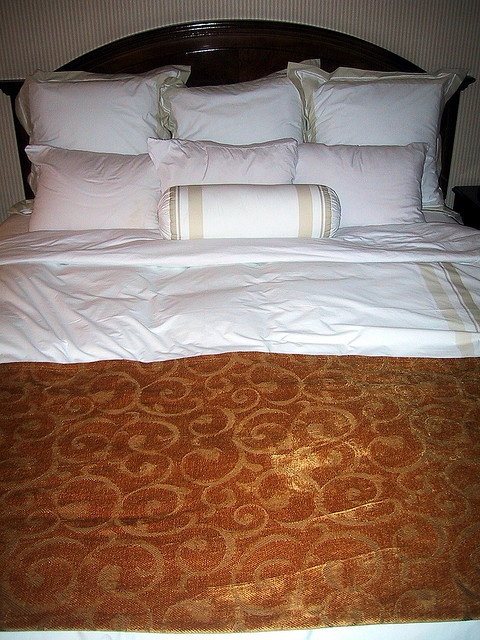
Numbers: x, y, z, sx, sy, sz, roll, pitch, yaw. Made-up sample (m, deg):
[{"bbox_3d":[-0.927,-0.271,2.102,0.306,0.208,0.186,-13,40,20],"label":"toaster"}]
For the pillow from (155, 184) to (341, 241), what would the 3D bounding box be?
[{"bbox_3d":[0.022,-0.358,1.766,0.705,0.189,0.212,-1,7,-3],"label":"pillow"}]

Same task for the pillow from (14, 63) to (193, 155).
[{"bbox_3d":[-0.560,-0.838,2.041,0.547,0.462,0.141,-5,-2,-11],"label":"pillow"}]

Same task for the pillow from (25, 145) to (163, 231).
[{"bbox_3d":[-0.562,-0.501,1.903,0.525,0.282,0.293,-2,22,-4],"label":"pillow"}]

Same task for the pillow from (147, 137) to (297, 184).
[{"bbox_3d":[-0.059,-0.585,1.896,0.552,0.178,0.240,1,22,3],"label":"pillow"}]
